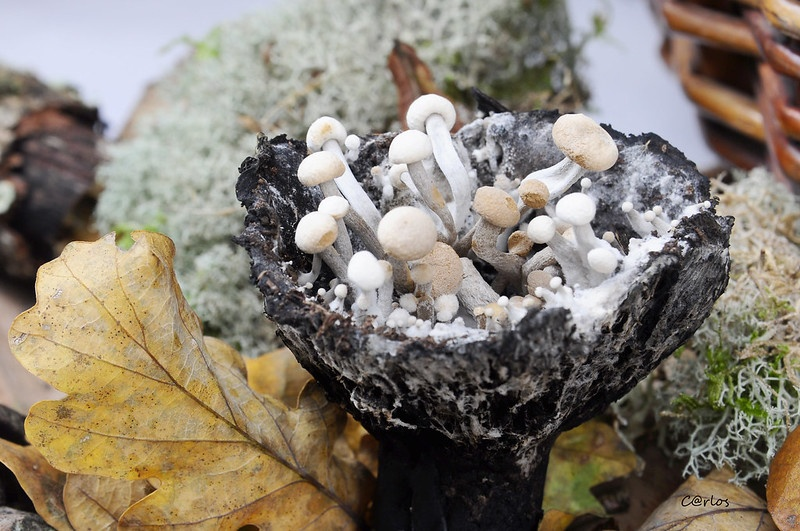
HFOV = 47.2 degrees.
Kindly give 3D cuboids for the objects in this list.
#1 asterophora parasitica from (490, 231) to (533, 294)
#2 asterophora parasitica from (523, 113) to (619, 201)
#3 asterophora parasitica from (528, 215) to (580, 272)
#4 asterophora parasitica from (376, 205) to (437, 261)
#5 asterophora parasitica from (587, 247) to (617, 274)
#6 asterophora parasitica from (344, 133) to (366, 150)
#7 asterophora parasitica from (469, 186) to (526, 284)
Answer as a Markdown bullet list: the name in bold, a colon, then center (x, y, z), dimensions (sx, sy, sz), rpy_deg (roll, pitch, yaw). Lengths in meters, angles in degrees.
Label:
- **asterophora parasitica**: center (0.194, -0.012, 1.609), dimensions (0.062, 0.119, 0.042), rpy_deg (16, -1, 5)
- **asterophora parasitica**: center (0.295, -0.189, 1.546), dimensions (0.135, 0.087, 0.089), rpy_deg (-24, -19, -3)
- **asterophora parasitica**: center (0.258, -0.037, 1.533), dimensions (0.050, 0.068, 0.115), rpy_deg (-9, -29, 28)
- **asterophora parasitica**: center (0.008, -0.054, 1.508), dimensions (0.080, 0.066, 0.085), rpy_deg (22, -36, -17)
- **asterophora parasitica**: center (0.321, -0.009, 1.456), dimensions (0.033, 0.035, 0.045), rpy_deg (-16, -28, 33)
- **asterophora parasitica**: center (-0.082, -0.228, 1.647), dimensions (0.027, 0.027, 0.022), rpy_deg (3, -52, -30)
- **asterophora parasitica**: center (0.170, -0.047, 1.595), dimensions (0.095, 0.127, 0.138), rpy_deg (-18, -10, 4)
